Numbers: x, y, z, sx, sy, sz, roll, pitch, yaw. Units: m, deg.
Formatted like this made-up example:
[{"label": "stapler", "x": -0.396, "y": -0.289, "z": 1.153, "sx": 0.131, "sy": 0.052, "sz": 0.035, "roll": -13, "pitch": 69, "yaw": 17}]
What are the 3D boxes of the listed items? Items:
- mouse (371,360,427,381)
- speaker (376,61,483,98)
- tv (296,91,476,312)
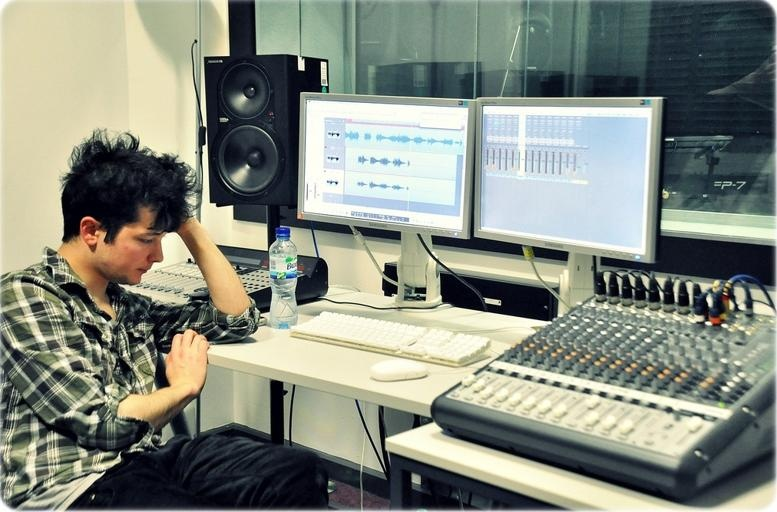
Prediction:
[{"label": "mouse", "x": 0.033, "y": 0.320, "z": 1.828, "sx": 0.111, "sy": 0.028, "sz": 0.074, "roll": -3, "pitch": 6, "yaw": -18}, {"label": "speaker", "x": 0.153, "y": -0.777, "z": 2.773, "sx": 0.511, "sy": 0.166, "sz": 0.067, "roll": 7, "pitch": 27, "yaw": 26}, {"label": "tv", "x": 0.061, "y": -0.193, "z": 2.355, "sx": 0.790, "sy": 0.755, "sz": 0.407, "roll": 9, "pitch": 14, "yaw": 34}]
